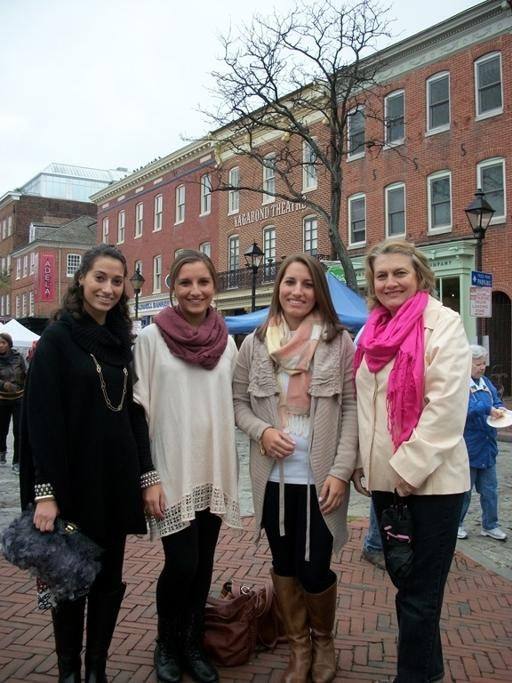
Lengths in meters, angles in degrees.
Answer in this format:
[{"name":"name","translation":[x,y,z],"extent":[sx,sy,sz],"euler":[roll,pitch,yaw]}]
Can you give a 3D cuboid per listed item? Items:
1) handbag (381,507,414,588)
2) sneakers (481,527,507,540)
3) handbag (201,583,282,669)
[{"name":"handbag","translation":[0.564,0.837,2.820],"extent":[0.119,0.356,0.226],"euler":[-2,2,-6]},{"name":"sneakers","translation":[1.921,1.575,5.600],"extent":[0.196,0.078,0.071],"euler":[-5,-3,40]},{"name":"handbag","translation":[-0.061,1.418,3.379],"extent":[0.319,0.125,0.289],"euler":[6,-3,9]}]
